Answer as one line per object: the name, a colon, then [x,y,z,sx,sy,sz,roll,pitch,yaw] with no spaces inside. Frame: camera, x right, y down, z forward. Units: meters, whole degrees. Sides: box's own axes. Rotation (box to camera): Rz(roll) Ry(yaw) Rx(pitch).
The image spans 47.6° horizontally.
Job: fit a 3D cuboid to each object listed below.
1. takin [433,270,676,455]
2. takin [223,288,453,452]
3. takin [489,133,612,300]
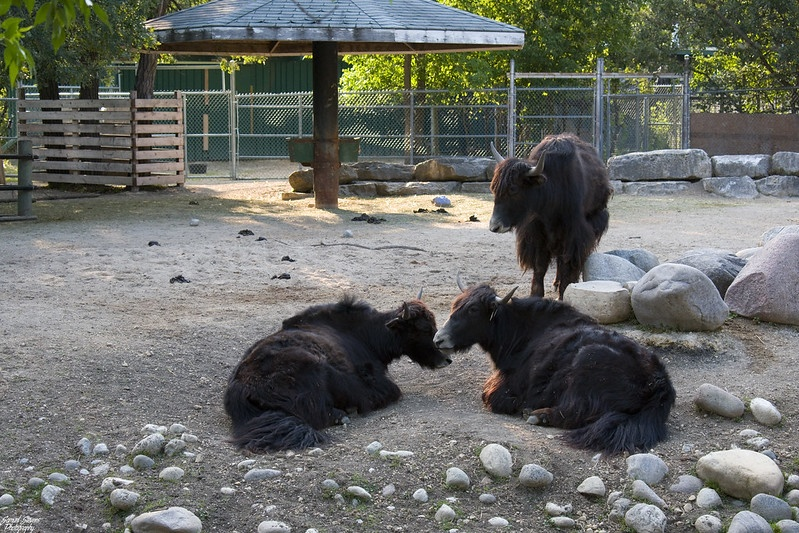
takin: [1.365,0.828,7.794,1.871,1.190,0.867,5,8,40]
takin: [-0.667,0.877,7.993,0.954,1.060,1.969,5,8,39]
takin: [1.852,-0.611,10.561,0.882,1.763,2.279,2,7,39]
